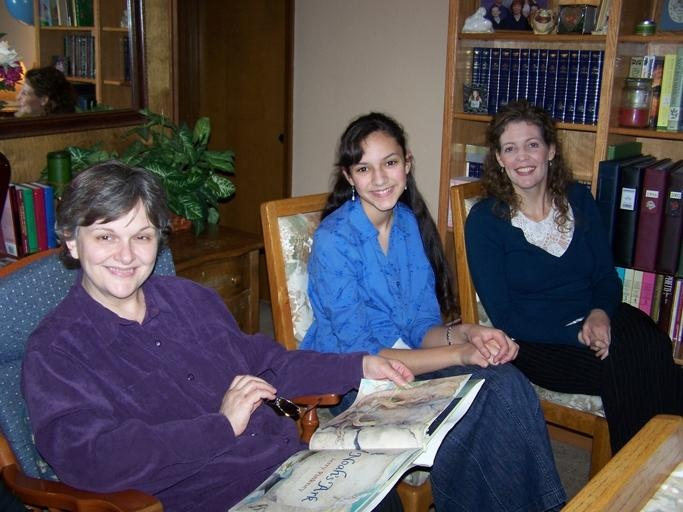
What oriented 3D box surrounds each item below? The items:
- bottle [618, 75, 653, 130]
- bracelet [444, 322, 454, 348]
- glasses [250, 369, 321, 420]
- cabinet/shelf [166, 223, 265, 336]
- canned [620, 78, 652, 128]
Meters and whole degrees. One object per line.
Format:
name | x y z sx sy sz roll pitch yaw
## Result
bottle | 1.452 -0.760 2.605 0.128 0.230 0.137 0 14 0
bracelet | 0.379 0.284 1.894 0.019 0.056 0.041 -3 -29 3
glasses | -0.146 0.411 1.561 0.153 0.049 0.152 39 -9 -26
cabinet/shelf | -0.649 0.252 2.676 0.420 0.600 0.471 -5 2 -29
canned | 1.452 -0.762 2.602 0.127 0.231 0.135 5 18 19
